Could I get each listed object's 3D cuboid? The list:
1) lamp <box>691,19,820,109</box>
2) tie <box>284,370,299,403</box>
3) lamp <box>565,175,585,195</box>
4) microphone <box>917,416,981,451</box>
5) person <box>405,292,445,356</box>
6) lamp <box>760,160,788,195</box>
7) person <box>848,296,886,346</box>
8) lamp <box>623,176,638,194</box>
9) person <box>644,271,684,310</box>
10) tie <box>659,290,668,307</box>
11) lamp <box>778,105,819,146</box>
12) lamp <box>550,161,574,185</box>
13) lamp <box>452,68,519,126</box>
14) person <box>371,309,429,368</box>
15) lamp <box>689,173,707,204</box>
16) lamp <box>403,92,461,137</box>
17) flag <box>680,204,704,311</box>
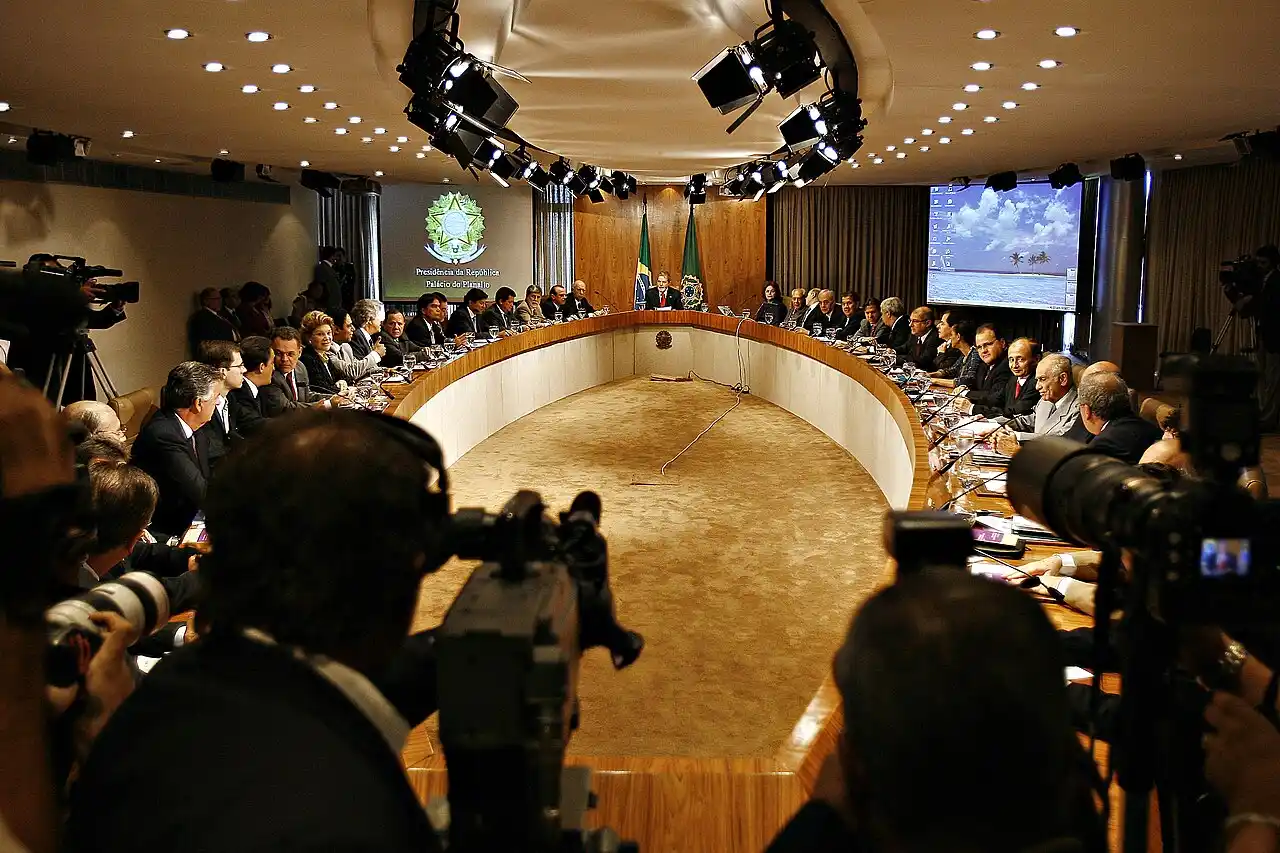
[{"bbox_3d":[0.700,-2.061,5.185,0.515,0.210,0.533,-21,-38,17],"label":"lamp"},{"bbox_3d":[-2.379,-0.273,6.102,0.048,0.206,0.140,-11,0,-26],"label":"tie"},{"bbox_3d":[-0.781,-2.944,10.936,0.169,0.183,0.316,-30,18,-1],"label":"lamp"},{"bbox_3d":[1.612,0.034,4.732,0.230,0.061,0.253,5,12,42],"label":"microphone"},{"bbox_3d":[-2.211,-0.972,9.352,0.469,0.741,0.411,-5,-4,-12],"label":"person"},{"bbox_3d":[1.487,-2.773,9.846,0.303,0.311,0.779,1,12,8],"label":"lamp"},{"bbox_3d":[2.592,-1.159,10.246,0.571,0.734,0.307,1,13,18],"label":"person"},{"bbox_3d":[-0.130,-3.513,12.898,0.283,0.131,0.393,-1,-1,1],"label":"lamp"},{"bbox_3d":[0.319,-1.924,12.739,0.474,0.457,0.882,-2,12,-6],"label":"person"},{"bbox_3d":[0.351,-1.847,12.838,0.138,0.207,0.283,-1,12,-1],"label":"tie"},{"bbox_3d":[1.142,-2.148,6.359,0.204,0.237,0.389,-4,12,-16],"label":"lamp"},{"bbox_3d":[-0.944,-3.019,10.703,0.214,0.303,0.314,-1,-2,4],"label":"lamp"},{"bbox_3d":[-0.973,-1.973,5.384,0.309,0.273,0.718,2,13,14],"label":"lamp"},{"bbox_3d":[-2.257,-0.809,8.371,0.455,0.542,0.751,-10,11,-39],"label":"person"},{"bbox_3d":[0.831,-3.474,12.845,0.288,0.439,0.423,1,-26,0],"label":"lamp"},{"bbox_3d":[-1.326,-1.945,5.741,0.367,0.141,0.275,9,-8,44],"label":"lamp"},{"bbox_3d":[0.862,-2.760,14.546,0.398,1.621,0.568,0,11,4],"label":"flag"}]
